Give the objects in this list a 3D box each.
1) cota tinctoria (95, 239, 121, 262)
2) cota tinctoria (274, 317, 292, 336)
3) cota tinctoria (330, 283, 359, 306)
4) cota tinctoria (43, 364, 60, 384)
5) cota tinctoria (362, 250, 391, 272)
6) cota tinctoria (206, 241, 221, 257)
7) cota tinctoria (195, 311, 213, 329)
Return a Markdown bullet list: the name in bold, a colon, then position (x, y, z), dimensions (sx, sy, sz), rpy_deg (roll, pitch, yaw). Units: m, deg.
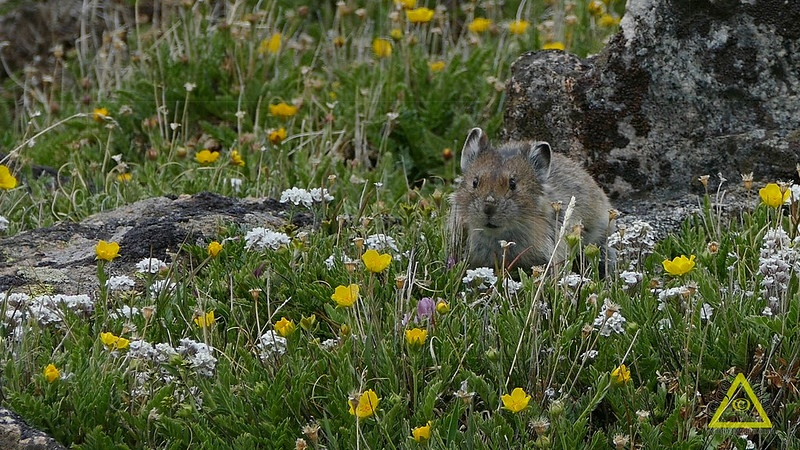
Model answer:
- **cota tinctoria**: position (-2.287, 0.202, 7.730), dimensions (0.153, 0.215, 0.284), rpy_deg (-2, 13, -14)
- **cota tinctoria**: position (-0.853, 0.755, 7.337), dimensions (0.137, 0.149, 0.218), rpy_deg (0, 13, -5)
- **cota tinctoria**: position (-0.382, 0.513, 7.273), dimensions (0.166, 0.116, 0.184), rpy_deg (-4, 2, 12)
- **cota tinctoria**: position (-2.570, 1.093, 7.282), dimensions (0.125, 0.160, 0.124), rpy_deg (7, -7, -33)
- **cota tinctoria**: position (-0.170, 0.266, 7.304), dimensions (0.197, 0.209, 0.177), rpy_deg (0, 13, -2)
- **cota tinctoria**: position (-1.527, 0.176, 8.138), dimensions (0.128, 0.147, 0.090), rpy_deg (9, 48, 2)
- **cota tinctoria**: position (-1.474, 0.709, 7.431), dimensions (0.139, 0.103, 0.123), rpy_deg (-17, -3, 30)
